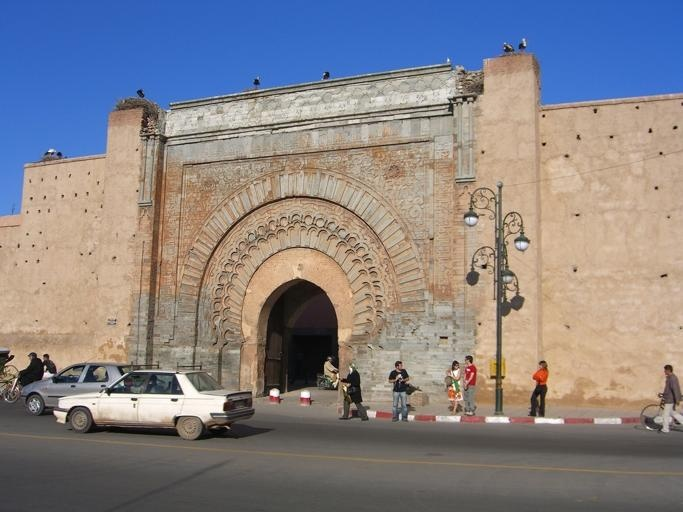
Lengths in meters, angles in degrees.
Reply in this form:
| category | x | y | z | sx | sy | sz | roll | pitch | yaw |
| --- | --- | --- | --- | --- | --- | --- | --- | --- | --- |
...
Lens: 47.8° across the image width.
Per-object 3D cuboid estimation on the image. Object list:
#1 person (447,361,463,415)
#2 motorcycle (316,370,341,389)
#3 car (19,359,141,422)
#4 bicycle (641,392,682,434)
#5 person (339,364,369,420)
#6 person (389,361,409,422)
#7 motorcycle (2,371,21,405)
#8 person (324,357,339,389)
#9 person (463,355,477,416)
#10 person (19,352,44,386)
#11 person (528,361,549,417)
| category | x | y | z | sx | sy | sz | roll | pitch | yaw |
| --- | --- | --- | --- | --- | --- | --- | --- | --- | --- |
| person | 3.248 | 3.770 | 22.378 | 0.450 | 1.414 | 1.395 | 1 | 0 | 8 |
| motorcycle | -0.667 | 4.901 | 30.450 | 0.614 | 0.307 | 0.808 | 4 | -14 | 15 |
| car | -7.259 | 3.618 | 21.173 | 2.634 | 1.196 | 1.437 | -2 | -6 | 13 |
| bicycle | 8.345 | 4.002 | 19.756 | 1.481 | 1.019 | 0.883 | -2 | -8 | 24 |
| person | 0.347 | 3.856 | 22.116 | 0.758 | 1.471 | 2.028 | 1 | 0 | 2 |
| person | 1.578 | 3.741 | 21.728 | 0.518 | 1.556 | 1.132 | 1 | 0 | 5 |
| motorcycle | -10.361 | 4.138 | 24.265 | 0.472 | 1.031 | 1.177 | 1 | 0 | -27 |
| person | -0.392 | 4.510 | 29.488 | 0.614 | 0.859 | 1.378 | 1 | -21 | -6 |
| person | 3.637 | 3.662 | 22.175 | 0.354 | 1.570 | 1.358 | 1 | 0 | 8 |
| person | -9.090 | 3.438 | 22.751 | 0.680 | 1.262 | 0.532 | 5 | 2 | 12 |
| person | 5.453 | 3.666 | 21.627 | 0.444 | 1.410 | 1.304 | 1 | 0 | 14 |
